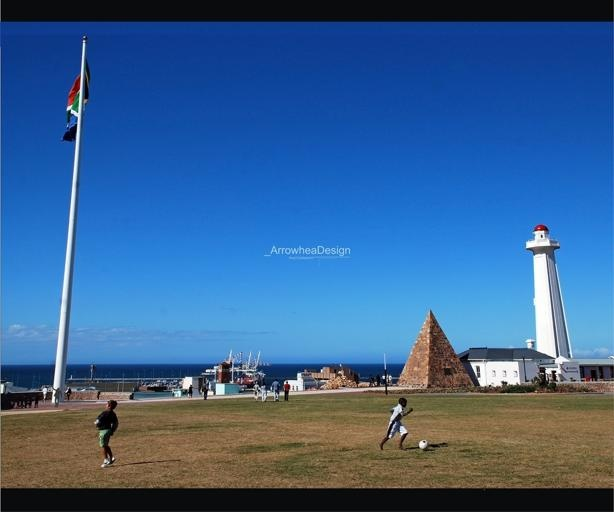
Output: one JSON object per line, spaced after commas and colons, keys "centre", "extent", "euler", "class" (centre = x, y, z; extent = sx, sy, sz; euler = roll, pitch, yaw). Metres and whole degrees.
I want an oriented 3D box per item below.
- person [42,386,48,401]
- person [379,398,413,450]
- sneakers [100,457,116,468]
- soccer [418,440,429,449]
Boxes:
{"centre": [-15.749, 8.286, 32.915], "extent": [0.302, 0.716, 1.565], "euler": [4, -13, -24], "class": "person"}
{"centre": [2.608, 4.832, 16.168], "extent": [0.942, 1.383, 3.082], "euler": [-4, -12, 7], "class": "person"}
{"centre": [-4.874, 4.964, 13.234], "extent": [0.485, 0.204, 0.158], "euler": [7, -18, -42], "class": "sneakers"}
{"centre": [3.272, 5.195, 15.177], "extent": [0.380, 0.185, 0.381], "euler": [9, -13, -39], "class": "soccer"}
